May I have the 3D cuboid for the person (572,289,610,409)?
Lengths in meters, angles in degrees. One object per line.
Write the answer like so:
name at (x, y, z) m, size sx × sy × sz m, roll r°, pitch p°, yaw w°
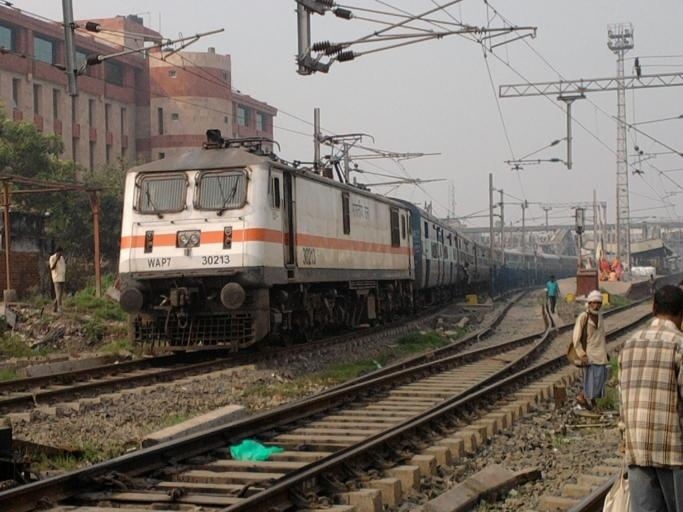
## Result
person at (4.198, 1.585, 12.557) m, size 0.567 × 2.020 × 0.813 m, roll -1°, pitch -1°, yaw 22°

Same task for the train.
train at (-0.235, 0.074, 25.912) m, size 4.070 × 6.163 × 22.466 m, roll -1°, pitch -2°, yaw 17°
